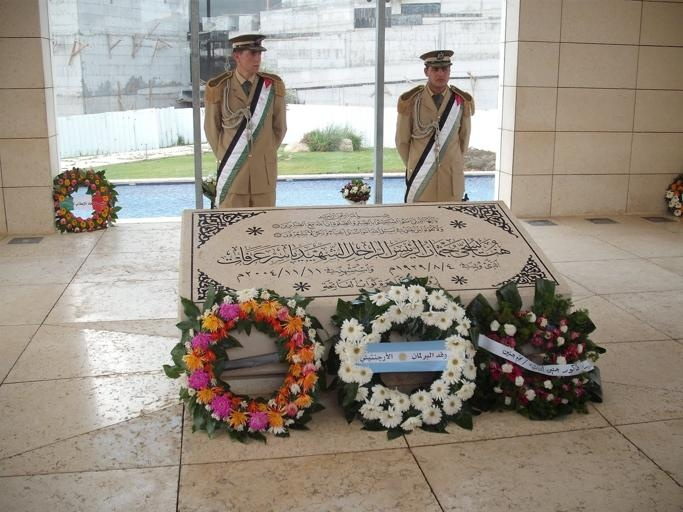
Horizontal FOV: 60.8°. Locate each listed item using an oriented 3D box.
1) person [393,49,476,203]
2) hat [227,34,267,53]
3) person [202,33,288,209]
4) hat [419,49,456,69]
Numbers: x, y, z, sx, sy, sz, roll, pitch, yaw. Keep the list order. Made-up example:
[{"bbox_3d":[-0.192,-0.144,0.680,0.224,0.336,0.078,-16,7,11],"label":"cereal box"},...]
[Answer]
[{"bbox_3d":[0.782,-1.139,5.145,0.587,1.278,0.233,-1,15,4],"label":"person"},{"bbox_3d":[-0.801,-1.780,4.872,0.249,0.099,0.220,21,30,40],"label":"hat"},{"bbox_3d":[-0.820,-1.148,5.052,0.710,1.448,0.335,-6,16,-13],"label":"person"},{"bbox_3d":[0.826,-1.720,5.051,0.248,0.139,0.202,2,17,13],"label":"hat"}]
